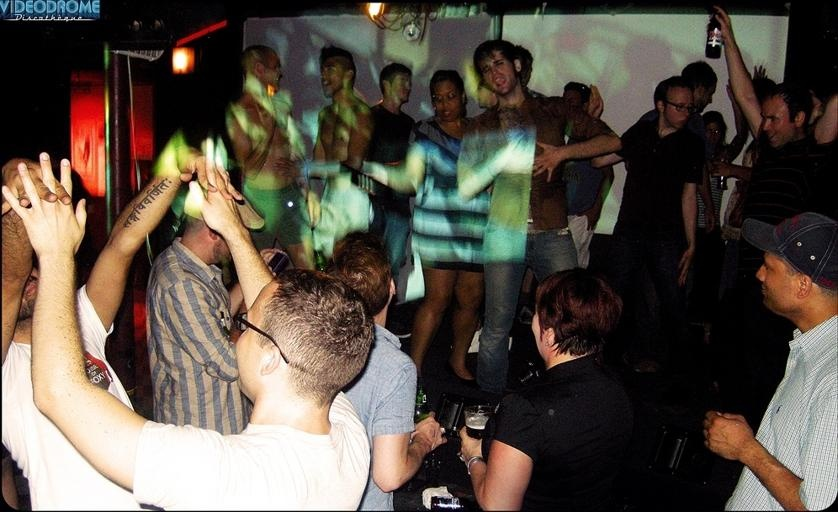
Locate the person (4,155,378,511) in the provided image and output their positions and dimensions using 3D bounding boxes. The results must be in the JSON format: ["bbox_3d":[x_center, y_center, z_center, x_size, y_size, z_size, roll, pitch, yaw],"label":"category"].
[{"bbox_3d":[-0.768,0.334,2.123,1.213,1.257,0.486,2,10,-7],"label":"person"}]

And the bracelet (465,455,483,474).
[{"bbox_3d":[0.263,1.017,2.864,0.078,0.089,0.045,3,-5,-13],"label":"bracelet"}]

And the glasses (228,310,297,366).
[{"bbox_3d":[-0.597,0.288,2.261,0.207,0.059,0.208,36,5,21],"label":"glasses"}]
